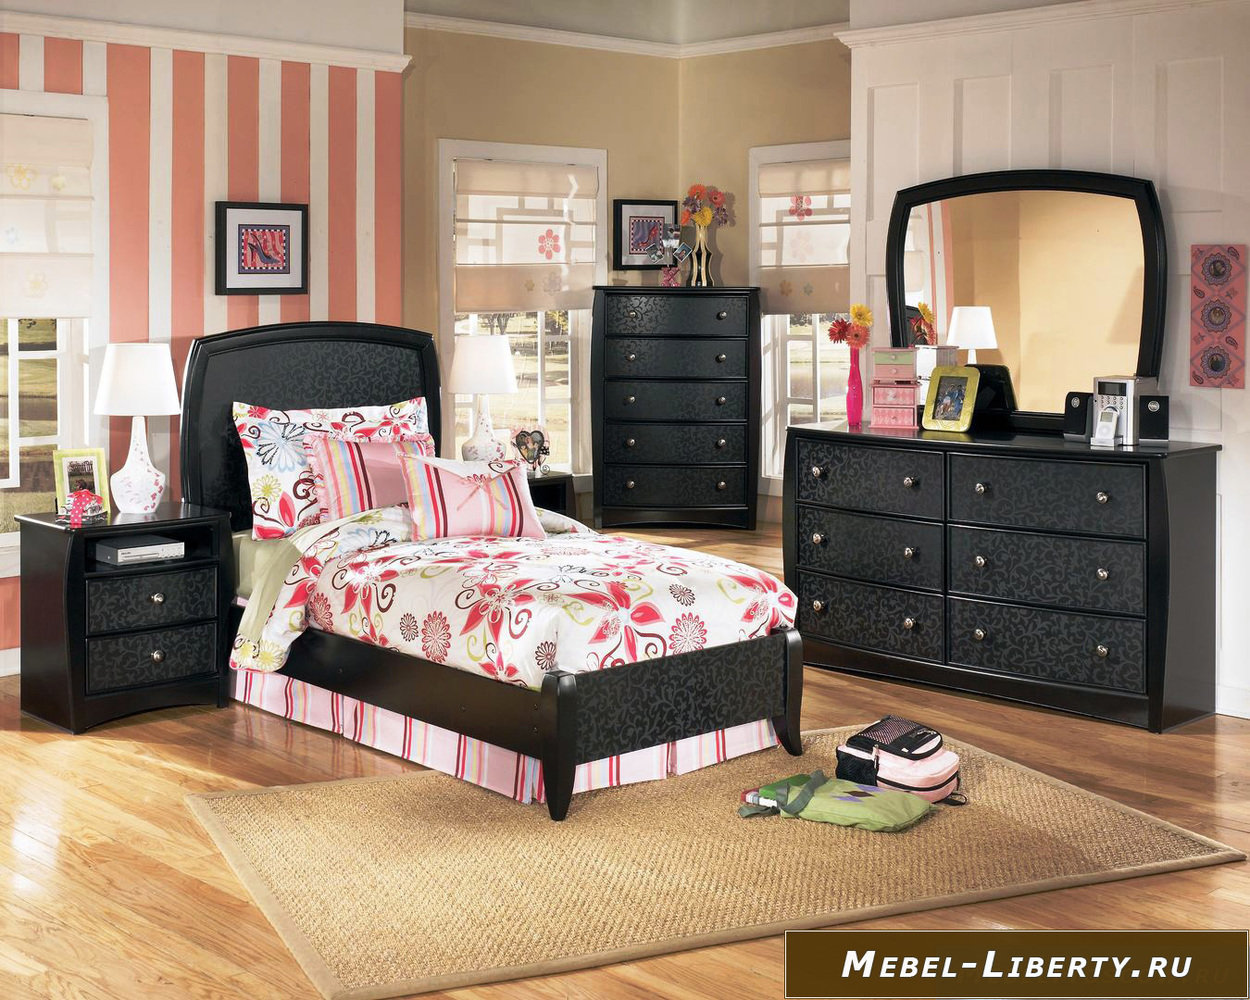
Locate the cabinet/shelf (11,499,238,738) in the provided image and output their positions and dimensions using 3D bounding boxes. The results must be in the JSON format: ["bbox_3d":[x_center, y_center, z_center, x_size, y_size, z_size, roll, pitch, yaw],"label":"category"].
[{"bbox_3d":[-1.843,0.346,3.995,0.760,0.966,0.930,4,6,43],"label":"cabinet/shelf"}]

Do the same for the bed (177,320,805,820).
[{"bbox_3d":[-0.575,0.097,3.742,2.355,1.361,1.225,10,13,42],"label":"bed"}]

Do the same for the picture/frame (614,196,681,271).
[{"bbox_3d":[0.135,-1.836,6.904,0.630,0.562,0.044,-1,3,-24],"label":"picture/frame"}]

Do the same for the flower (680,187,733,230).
[{"bbox_3d":[0.536,-2.043,6.873,0.325,0.304,0.309,4,5,42],"label":"flower"}]

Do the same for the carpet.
[{"bbox_3d":[0.116,0.886,2.685,2.448,0.043,1.241,-1,4,-18],"label":"carpet"}]

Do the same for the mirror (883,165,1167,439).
[{"bbox_3d":[1.668,-0.863,4.152,1.273,0.977,0.084,-4,1,-10],"label":"mirror"}]

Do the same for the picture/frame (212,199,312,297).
[{"bbox_3d":[-1.620,-1.130,4.465,0.477,0.414,0.047,4,7,16],"label":"picture/frame"}]

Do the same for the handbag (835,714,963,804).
[{"bbox_3d":[0.840,0.785,3.012,0.360,0.156,0.281,6,15,41],"label":"handbag"}]

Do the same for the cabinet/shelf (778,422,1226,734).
[{"bbox_3d":[1.501,0.265,4.160,0.659,0.967,1.759,-5,6,-37],"label":"cabinet/shelf"}]

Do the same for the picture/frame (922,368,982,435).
[{"bbox_3d":[1.408,-0.413,4.238,0.299,0.376,0.030,8,-15,37],"label":"picture/frame"}]

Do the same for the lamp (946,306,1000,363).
[{"bbox_3d":[1.471,-0.725,4.347,0.234,0.220,0.227,-1,3,-5],"label":"lamp"}]

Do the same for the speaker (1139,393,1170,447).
[{"bbox_3d":[1.981,-0.301,3.690,0.164,0.168,0.082,-1,4,-23],"label":"speaker"}]

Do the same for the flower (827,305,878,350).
[{"bbox_3d":[1.065,-0.803,4.578,0.181,0.207,0.147,-2,4,-31],"label":"flower"}]
